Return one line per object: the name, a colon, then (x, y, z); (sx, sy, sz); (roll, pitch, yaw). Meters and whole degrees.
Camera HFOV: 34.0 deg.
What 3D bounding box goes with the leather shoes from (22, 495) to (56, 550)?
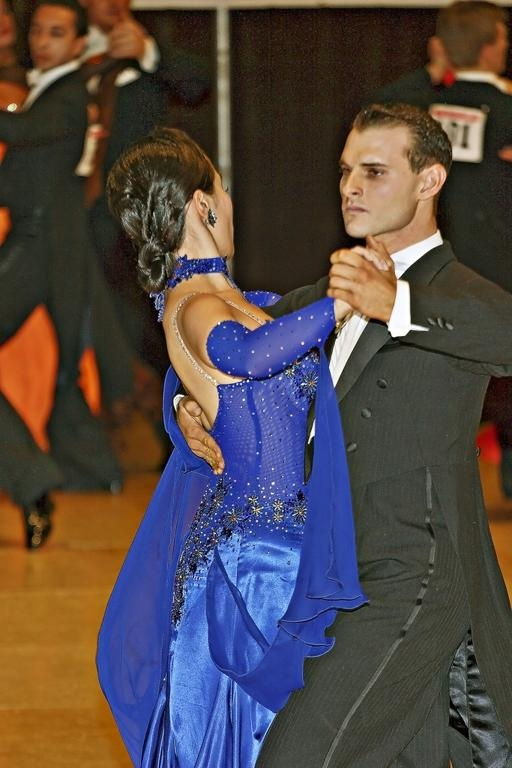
leather shoes: (-1.223, 0.785, 4.761); (0.198, 0.297, 0.130); (11, -13, 3)
